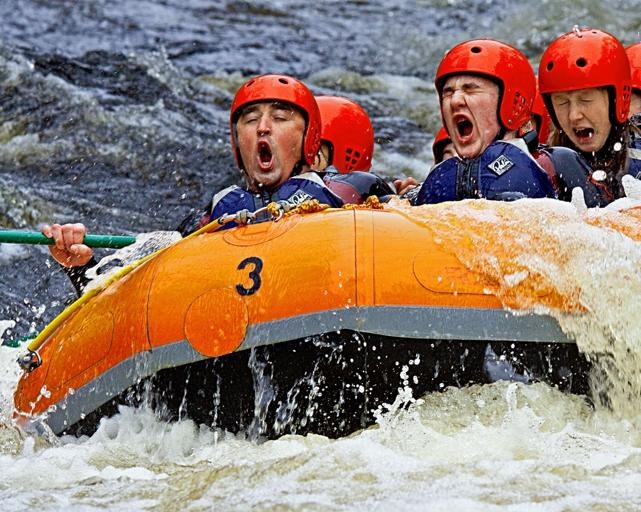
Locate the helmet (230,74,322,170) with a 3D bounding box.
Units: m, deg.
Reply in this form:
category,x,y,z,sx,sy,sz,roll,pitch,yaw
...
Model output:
category,x,y,z,sx,sy,sz,roll,pitch,yaw
helmet,-0.238,-0.750,6.639,0.421,0.444,0.557,-3,-9,6
